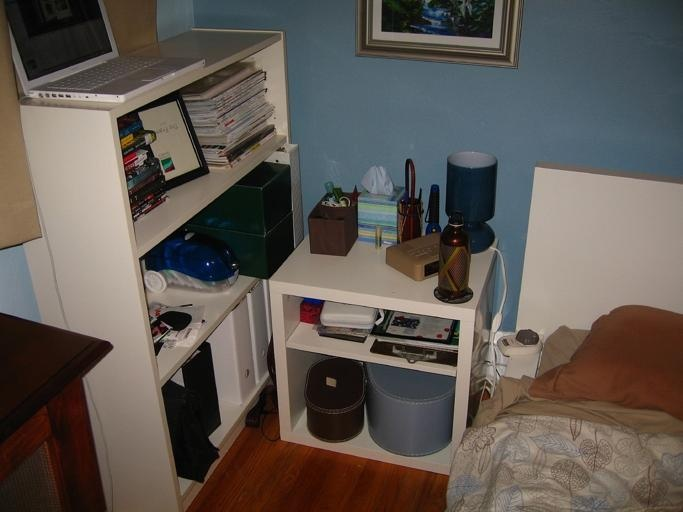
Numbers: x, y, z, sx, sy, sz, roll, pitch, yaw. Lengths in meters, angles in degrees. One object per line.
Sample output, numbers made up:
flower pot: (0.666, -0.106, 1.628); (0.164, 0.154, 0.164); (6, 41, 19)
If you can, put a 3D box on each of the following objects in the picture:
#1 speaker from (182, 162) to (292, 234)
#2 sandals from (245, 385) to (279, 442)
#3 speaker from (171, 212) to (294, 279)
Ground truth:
speaker: (-0.350, -0.201, 2.109); (0.283, 0.192, 0.305); (7, 29, 16)
sandals: (-0.334, 0.672, 2.242); (0.122, 0.061, 0.207); (9, 62, -21)
speaker: (-0.346, -0.028, 2.151); (0.274, 0.185, 0.295); (8, 29, 12)
